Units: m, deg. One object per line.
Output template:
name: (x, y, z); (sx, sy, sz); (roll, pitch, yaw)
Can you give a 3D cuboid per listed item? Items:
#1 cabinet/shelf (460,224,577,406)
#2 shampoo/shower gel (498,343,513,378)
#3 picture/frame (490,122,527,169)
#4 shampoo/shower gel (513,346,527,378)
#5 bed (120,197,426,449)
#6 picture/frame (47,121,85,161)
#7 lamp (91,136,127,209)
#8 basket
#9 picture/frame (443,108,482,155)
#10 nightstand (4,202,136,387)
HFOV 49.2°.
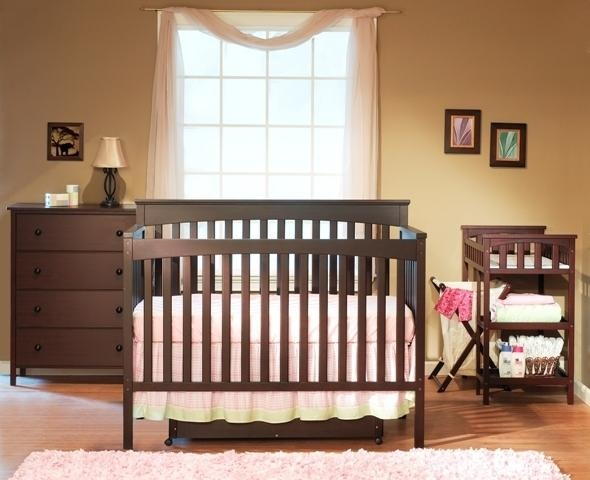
cabinet/shelf: (1.622, 0.376, 4.399); (0.620, 1.082, 1.120); (0, -1, 6)
shampoo/shower gel: (1.291, 0.740, 3.949); (0.068, 0.194, 0.134); (1, 4, -3)
picture/frame: (1.453, -0.658, 4.384); (0.261, 0.373, 0.028); (0, 2, -3)
shampoo/shower gel: (1.389, 0.737, 3.920); (0.124, 0.191, 0.064); (-3, 5, -41)
bed: (-0.104, 0.398, 3.671); (1.548, 1.329, 0.998); (1, 6, 5)
picture/frame: (-1.561, -0.685, 4.388); (0.231, 0.263, 0.017); (1, 3, -4)
lamp: (-1.235, -0.458, 4.330); (0.212, 0.469, 0.265); (-1, 4, -17)
basket: (1.446, 0.689, 3.995); (0.292, 0.173, 0.255); (-2, 0, -2)
picture/frame: (1.146, -0.733, 4.387); (0.238, 0.331, 0.024); (3, -10, 10)
nightstand: (-1.470, 0.320, 4.323); (0.772, 1.145, 0.425); (1, 13, -19)
